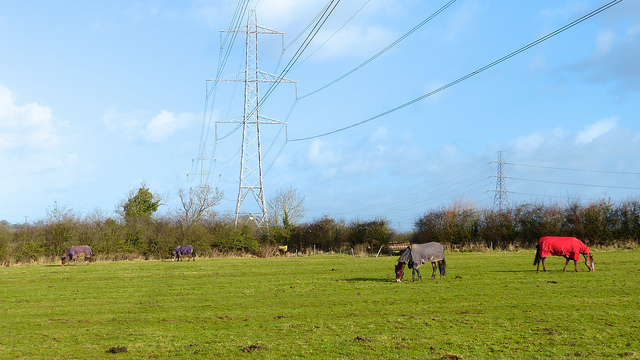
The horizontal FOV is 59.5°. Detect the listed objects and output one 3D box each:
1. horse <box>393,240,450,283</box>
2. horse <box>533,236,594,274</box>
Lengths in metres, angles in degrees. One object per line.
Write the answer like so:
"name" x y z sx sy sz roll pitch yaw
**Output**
"horse" 7.836 6.397 44.269 5.435 2.961 1.528 -4 -4 -31
"horse" 19.743 6.031 45.802 4.225 2.987 2.478 4 -11 -13
